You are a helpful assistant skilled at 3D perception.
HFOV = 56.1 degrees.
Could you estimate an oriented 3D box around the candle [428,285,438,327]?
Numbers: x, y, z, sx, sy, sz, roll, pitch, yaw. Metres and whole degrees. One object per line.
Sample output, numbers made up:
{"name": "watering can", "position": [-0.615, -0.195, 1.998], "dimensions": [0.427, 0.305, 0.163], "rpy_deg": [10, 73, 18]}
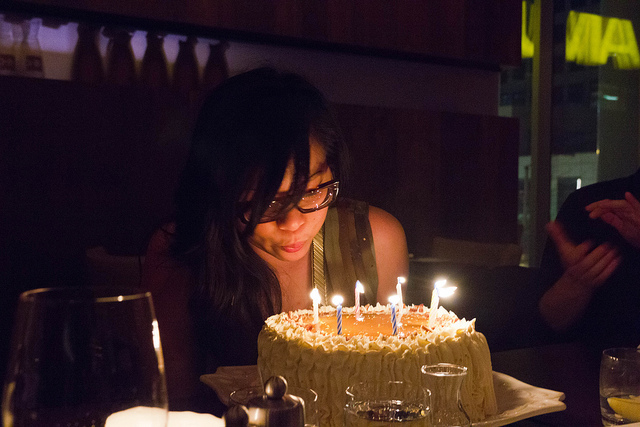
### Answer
{"name": "candle", "position": [0.380, 0.309, 2.024], "dimensions": [0.016, 0.123, 0.018], "rpy_deg": [3, -11, 16]}

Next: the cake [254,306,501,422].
{"name": "cake", "position": [0.158, 0.438, 1.933], "dimensions": [0.475, 0.216, 0.472], "rpy_deg": [-2, -3, 13]}

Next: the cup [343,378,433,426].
{"name": "cup", "position": [0.186, 0.463, 1.584], "dimensions": [0.150, 0.121, 0.156], "rpy_deg": [0, -8, 0]}
